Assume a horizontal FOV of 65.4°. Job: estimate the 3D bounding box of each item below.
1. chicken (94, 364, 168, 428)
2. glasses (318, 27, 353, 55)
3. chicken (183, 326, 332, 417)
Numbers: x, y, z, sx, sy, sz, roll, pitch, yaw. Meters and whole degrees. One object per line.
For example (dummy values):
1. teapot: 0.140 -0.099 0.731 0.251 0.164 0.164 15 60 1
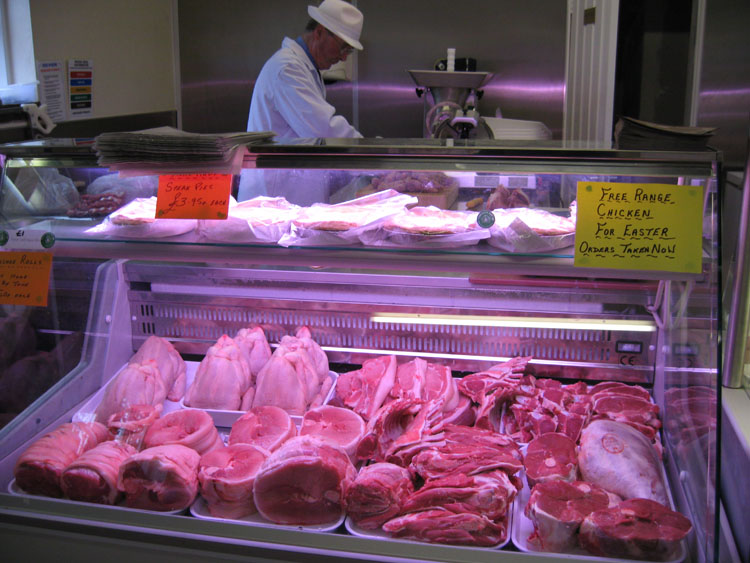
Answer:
1. chicken: -0.897 0.379 2.148 0.231 0.117 0.319 -18 14 -33
2. glasses: -0.264 -1.488 3.606 0.150 0.120 0.158 -24 56 -2
3. chicken: -0.418 0.309 2.103 0.506 0.224 0.282 -1 15 9
